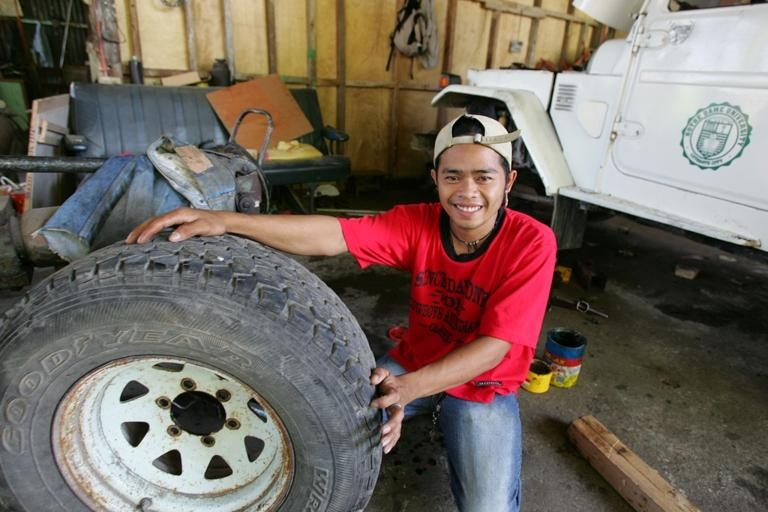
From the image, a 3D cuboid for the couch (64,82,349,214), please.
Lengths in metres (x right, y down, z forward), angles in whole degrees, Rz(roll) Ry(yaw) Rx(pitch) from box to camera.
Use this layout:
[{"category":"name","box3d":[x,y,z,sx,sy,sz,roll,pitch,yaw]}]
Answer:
[{"category":"couch","box3d":[-1.727,-1.132,5.086,2.674,1.204,1.155,-9,27,-28]}]

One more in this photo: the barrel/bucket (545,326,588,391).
[{"category":"barrel/bucket","box3d":[1.198,0.683,3.198,0.257,0.282,0.259,2,16,-1]}]
